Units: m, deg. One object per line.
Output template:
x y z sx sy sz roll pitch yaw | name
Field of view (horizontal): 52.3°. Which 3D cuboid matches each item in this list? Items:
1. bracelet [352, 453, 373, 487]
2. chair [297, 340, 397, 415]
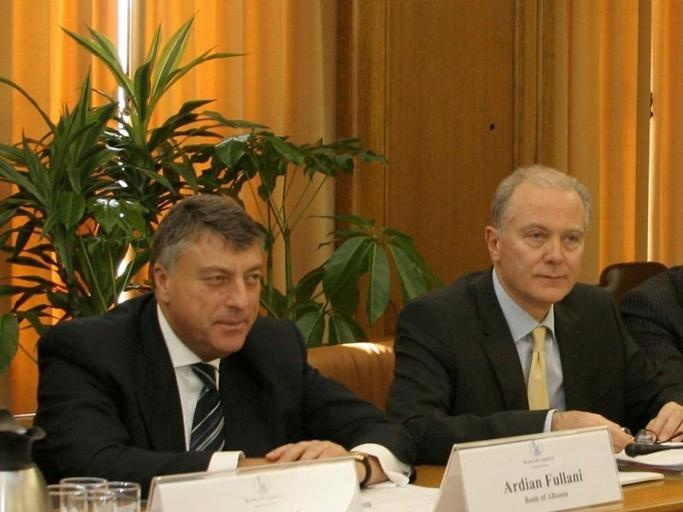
0.052 0.506 1.660 0.043 0.073 0.132 -7 -9 -1 | bracelet
-0.045 0.501 2.716 0.285 0.363 0.487 3 -2 -26 | chair
